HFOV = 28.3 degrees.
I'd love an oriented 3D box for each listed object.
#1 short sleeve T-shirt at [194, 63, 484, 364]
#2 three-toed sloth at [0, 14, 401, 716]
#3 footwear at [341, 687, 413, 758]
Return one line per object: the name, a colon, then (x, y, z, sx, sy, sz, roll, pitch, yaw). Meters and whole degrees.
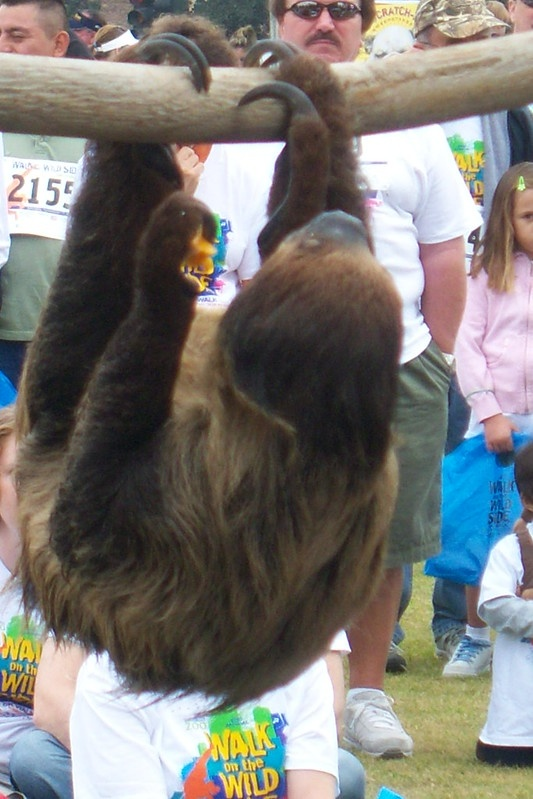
short sleeve T-shirt: (0.361, -0.713, 4.022, 0.926, 0.814, 0.463, 0, -1, -2)
three-toed sloth: (-0.109, 0.036, 1.430, 0.646, 0.906, 0.327, -3, 18, 16)
footwear: (0.432, 1.212, 3.959, 0.150, 0.145, 0.354, 2, -6, -21)
